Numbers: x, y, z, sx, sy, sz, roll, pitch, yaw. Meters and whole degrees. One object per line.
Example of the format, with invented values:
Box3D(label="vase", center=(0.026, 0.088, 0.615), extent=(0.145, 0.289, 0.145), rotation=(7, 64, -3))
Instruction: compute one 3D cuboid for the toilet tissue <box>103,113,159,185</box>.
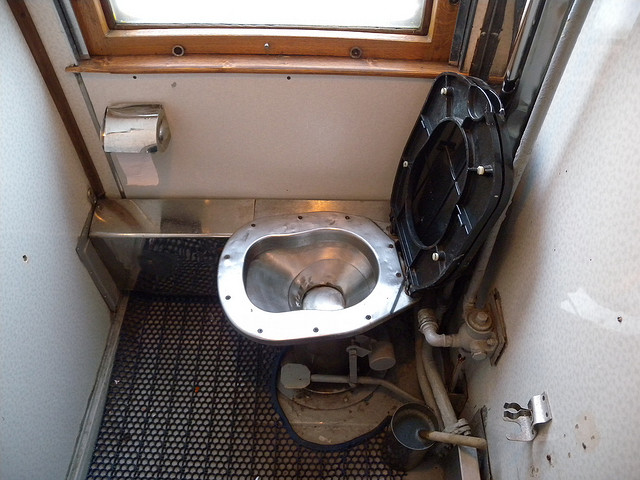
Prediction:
Box3D(label="toilet tissue", center=(-0.630, -0.325, 1.731), extent=(0.189, 0.259, 0.178), rotation=(-1, 31, -12))

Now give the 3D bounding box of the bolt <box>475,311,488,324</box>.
Box3D(label="bolt", center=(0.471, 0.229, 1.476), extent=(0.032, 0.019, 0.030), rotation=(-36, 58, -26))

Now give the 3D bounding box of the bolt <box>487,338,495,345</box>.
Box3D(label="bolt", center=(0.502, 0.299, 1.482), extent=(0.019, 0.016, 0.015), rotation=(11, 49, 10))

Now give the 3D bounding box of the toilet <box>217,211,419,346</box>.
Box3D(label="toilet", center=(-0.014, 0.154, 1.786), extent=(0.573, 0.240, 0.493), rotation=(-5, 66, -2))
